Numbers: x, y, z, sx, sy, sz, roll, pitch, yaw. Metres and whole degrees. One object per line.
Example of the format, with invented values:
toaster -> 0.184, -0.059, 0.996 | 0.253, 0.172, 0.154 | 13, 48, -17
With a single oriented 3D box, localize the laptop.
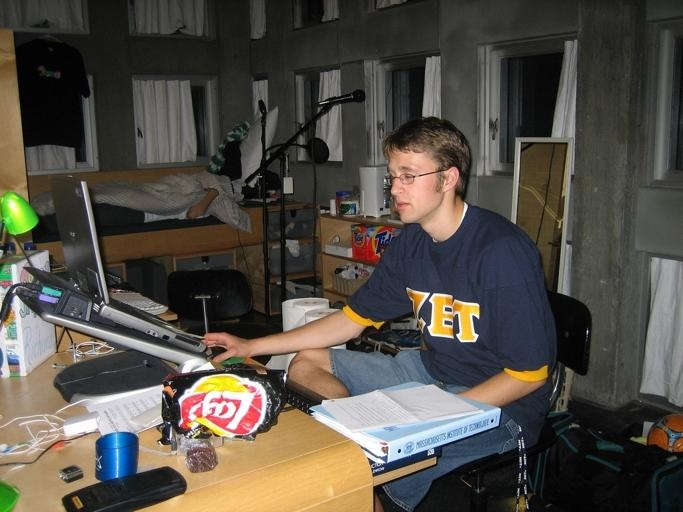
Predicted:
laptop -> -0.679, 0.009, 1.820 | 0.556, 0.468, 0.640 | 7, 2, -33

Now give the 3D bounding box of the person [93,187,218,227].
person -> -1.676, -0.501, 4.770 | 0.850, 0.202, 0.457 | 9, 28, -29

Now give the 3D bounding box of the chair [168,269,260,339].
chair -> -0.848, 0.267, 3.447 | 0.486, 0.551, 0.465 | -3, 1, -14

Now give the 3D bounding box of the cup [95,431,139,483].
cup -> -0.510, 0.457, 1.185 | 0.111, 0.106, 0.103 | 3, 2, 0

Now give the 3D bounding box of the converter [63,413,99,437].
converter -> -0.689, 0.452, 1.383 | 0.070, 0.033, 0.051 | -6, 10, -27

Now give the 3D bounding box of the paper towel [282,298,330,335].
paper towel -> -0.240, 0.453, 3.516 | 0.312, 0.295, 0.290 | 4, 2, -9

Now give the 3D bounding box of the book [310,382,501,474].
book -> 0.187, 0.476, 1.412 | 0.335, 0.068, 0.324 | -3, 6, -34

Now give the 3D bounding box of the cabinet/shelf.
cabinet/shelf -> 0.130, 0.005, 3.785 | 0.262, 0.680, 0.733 | -3, 11, -31

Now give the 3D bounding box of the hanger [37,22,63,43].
hanger -> -3.219, -2.464, 5.804 | 0.227, 0.238, 0.243 | 7, 15, 18
